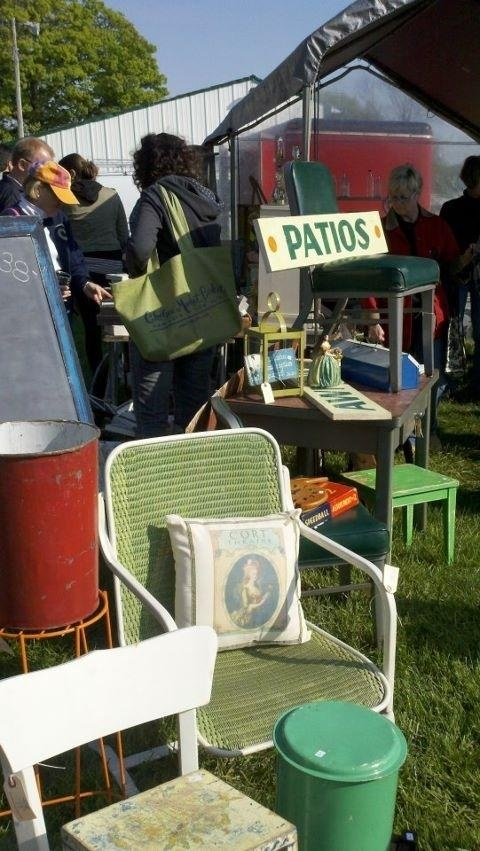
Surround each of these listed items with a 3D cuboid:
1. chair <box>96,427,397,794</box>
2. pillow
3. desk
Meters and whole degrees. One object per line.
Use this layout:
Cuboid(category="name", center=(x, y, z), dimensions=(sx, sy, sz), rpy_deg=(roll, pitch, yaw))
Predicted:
Cuboid(category="chair", center=(0.007, 0.458, 1.761), dimensions=(0.710, 1.012, 0.664), rpy_deg=(-5, 12, -29))
Cuboid(category="pillow", center=(-0.014, 0.410, 1.816), dimensions=(0.311, 0.336, 0.107), rpy_deg=(4, -18, -24))
Cuboid(category="desk", center=(0.402, 0.023, 3.007), dimensions=(0.835, 0.780, 0.691), rpy_deg=(12, 35, 21))
